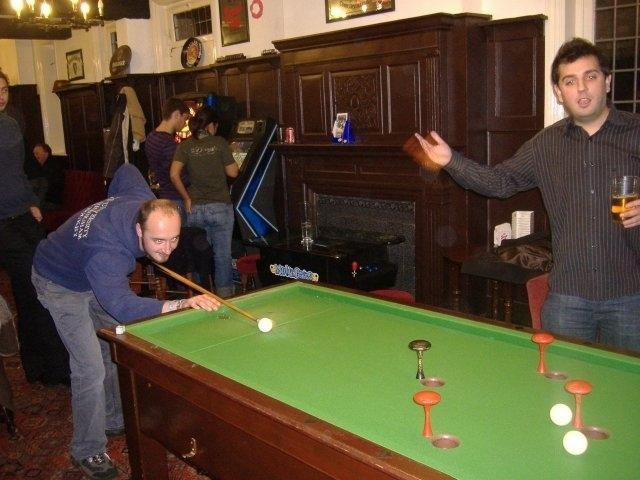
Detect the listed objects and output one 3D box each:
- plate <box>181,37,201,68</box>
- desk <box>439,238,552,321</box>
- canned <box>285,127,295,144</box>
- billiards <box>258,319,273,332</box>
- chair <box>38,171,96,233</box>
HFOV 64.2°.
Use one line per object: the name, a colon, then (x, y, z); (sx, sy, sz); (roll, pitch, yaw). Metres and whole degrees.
plate: (-1.721, -2.511, 6.864); (0.397, 0.387, 0.093); (1, 6, 38)
desk: (1.357, 0.269, 3.870); (0.685, 0.406, 0.663); (-9, 12, -33)
canned: (-0.334, -1.163, 5.691); (0.109, 0.173, 0.283); (-4, 13, -4)
billiards: (-0.263, 0.412, 2.469); (0.047, 0.045, 0.063); (-27, 15, -40)
chair: (-3.244, -0.521, 6.532); (1.033, 0.667, 0.541); (9, 10, 44)
